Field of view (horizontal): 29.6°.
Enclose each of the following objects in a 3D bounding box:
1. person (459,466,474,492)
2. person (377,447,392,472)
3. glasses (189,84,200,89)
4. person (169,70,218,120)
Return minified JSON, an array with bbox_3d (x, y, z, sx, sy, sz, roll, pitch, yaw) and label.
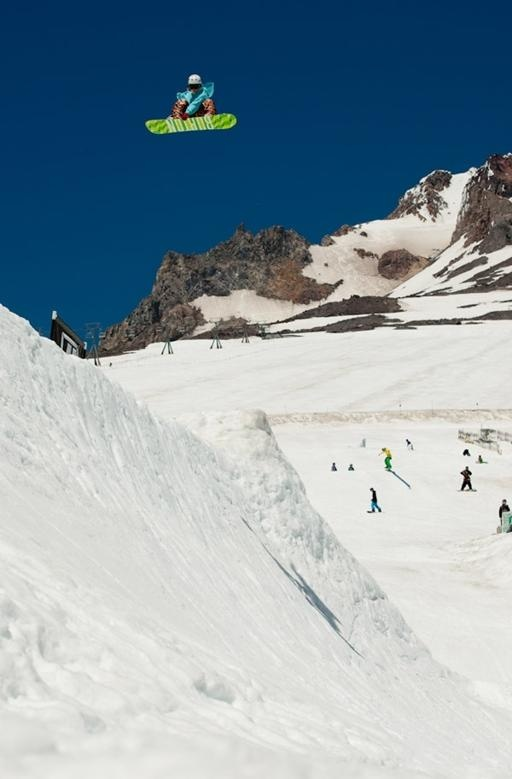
[{"bbox_3d":[6.966,2.988,32.033,0.479,0.436,1.027,-3,47,13],"label":"person"},{"bbox_3d":[4.919,2.669,36.251,0.719,1.303,0.644,0,-13,6],"label":"person"},{"bbox_3d":[-1.243,-6.059,19.550,0.151,0.093,0.239,-16,18,-42],"label":"glasses"},{"bbox_3d":[-1.257,-5.856,19.599,0.903,0.802,0.292,3,15,24],"label":"person"}]
